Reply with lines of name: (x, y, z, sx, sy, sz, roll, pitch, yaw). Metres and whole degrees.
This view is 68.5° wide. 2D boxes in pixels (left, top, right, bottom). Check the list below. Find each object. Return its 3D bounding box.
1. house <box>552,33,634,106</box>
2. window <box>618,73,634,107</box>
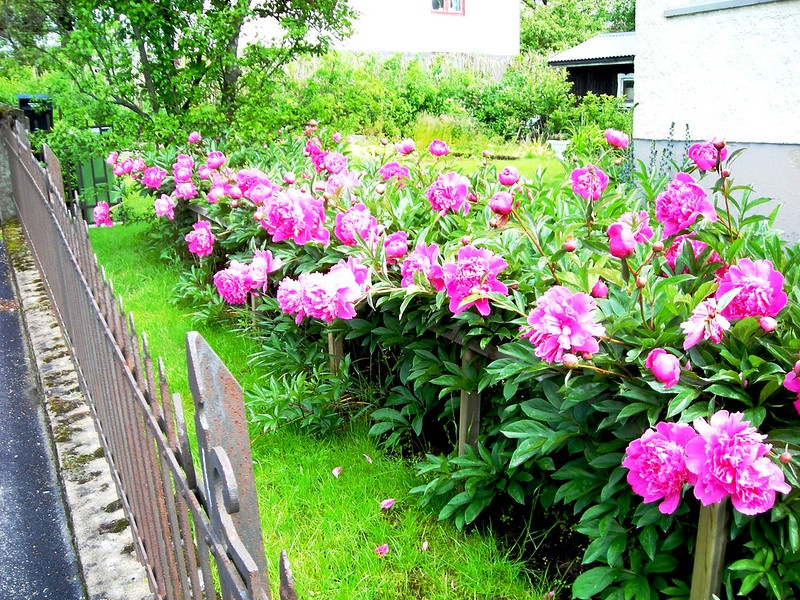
house: (6.482, -7.658, 19.366, 2.289, 2.455, 3.563, 7, 16, 19)
window: (7.220, -6.822, 19.001, 0.471, 0.936, 1.465, 6, 15, 18)
